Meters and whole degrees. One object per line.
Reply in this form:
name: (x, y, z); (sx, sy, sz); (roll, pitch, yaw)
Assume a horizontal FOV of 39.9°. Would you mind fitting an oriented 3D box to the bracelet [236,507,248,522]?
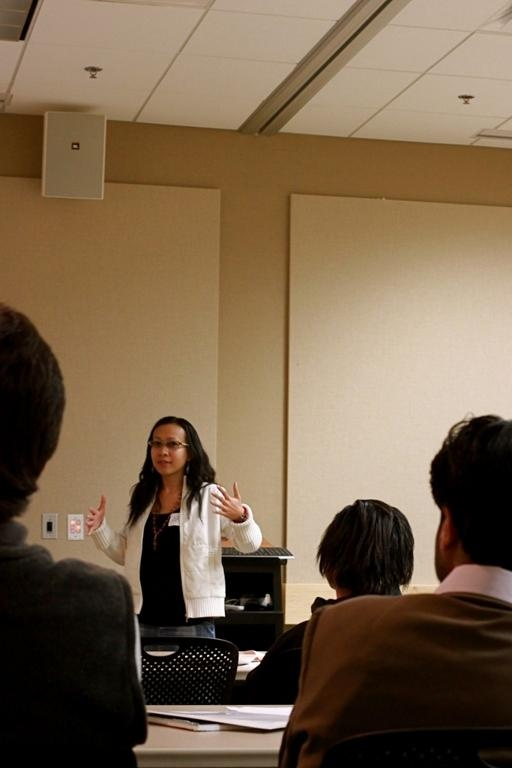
bracelet: (-0.059, 0.610, 3.264); (0.052, 0.067, 0.068); (1, -11, -10)
